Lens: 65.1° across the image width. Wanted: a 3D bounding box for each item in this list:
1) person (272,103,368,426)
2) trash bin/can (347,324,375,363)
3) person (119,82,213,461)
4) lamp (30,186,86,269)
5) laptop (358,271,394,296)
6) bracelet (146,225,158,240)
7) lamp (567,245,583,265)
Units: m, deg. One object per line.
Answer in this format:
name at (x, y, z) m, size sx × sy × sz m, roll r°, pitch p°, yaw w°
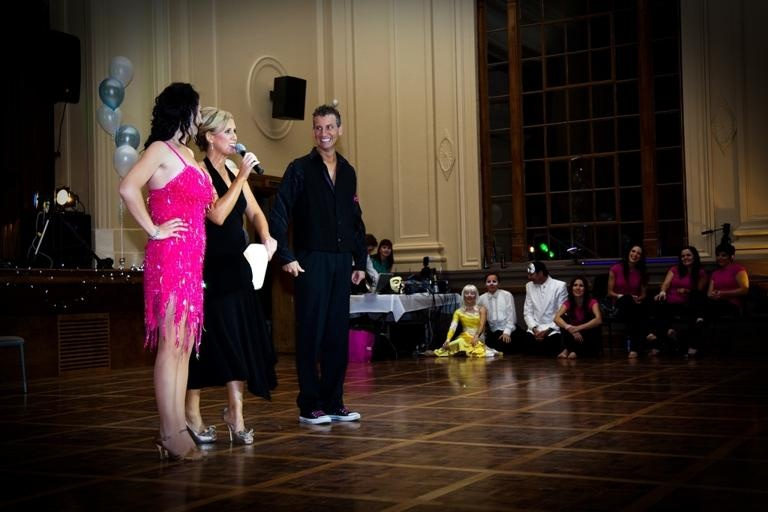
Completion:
person at (-0.428, 0.039, 4.101) m, size 0.657 × 2.162 × 0.498 m, roll -3°, pitch 2°, yaw -11°
trash bin/can at (-0.298, 1.206, 8.028) m, size 0.424 × 0.435 × 0.507 m, roll -4°, pitch -10°, yaw 17°
person at (-1.104, 0.058, 3.166) m, size 0.432 × 1.984 × 0.317 m, roll -3°, pitch 2°, yaw -16°
lamp at (-4.321, -0.363, 8.032) m, size 0.744 × 0.703 × 1.354 m, roll -3°, pitch 2°, yaw -21°
laptop at (-0.124, 0.378, 8.500) m, size 0.356 × 0.338 × 0.401 m, roll 14°, pitch -4°, yaw 7°
bracelet at (-1.161, -0.117, 3.046) m, size 0.066 × 0.034 × 0.054 m, roll 0°, pitch -31°, yaw 33°
lamp at (3.227, -0.019, 10.260) m, size 0.282 × 0.343 × 0.210 m, roll 0°, pitch -3°, yaw -35°
